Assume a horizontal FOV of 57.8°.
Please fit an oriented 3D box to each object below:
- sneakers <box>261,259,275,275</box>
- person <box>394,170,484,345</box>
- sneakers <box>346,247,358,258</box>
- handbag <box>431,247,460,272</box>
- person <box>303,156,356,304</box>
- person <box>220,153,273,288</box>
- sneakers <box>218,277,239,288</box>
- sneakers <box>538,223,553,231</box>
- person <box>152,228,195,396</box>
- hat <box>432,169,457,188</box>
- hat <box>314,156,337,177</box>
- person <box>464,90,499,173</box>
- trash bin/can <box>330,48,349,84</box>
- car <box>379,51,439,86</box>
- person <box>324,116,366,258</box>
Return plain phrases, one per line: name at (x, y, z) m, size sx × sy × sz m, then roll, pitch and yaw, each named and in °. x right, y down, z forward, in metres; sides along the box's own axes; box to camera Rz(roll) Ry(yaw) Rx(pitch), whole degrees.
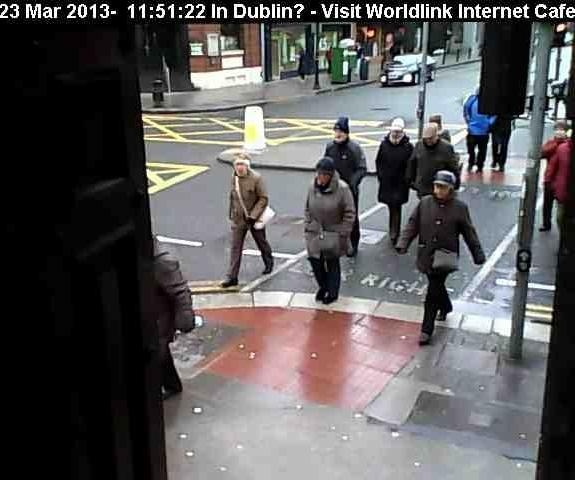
sneakers at (-0.303, 0.441, 8.560) m, size 0.130 × 0.281 × 0.256 m, roll -1°, pitch -5°, yaw 33°
person at (1.846, 0.177, 6.422) m, size 0.967 × 1.997 × 0.690 m, roll -4°, pitch 18°, yaw -3°
sneakers at (0.926, 0.188, 7.609) m, size 0.132 × 0.192 × 0.457 m, roll 0°, pitch 5°, yaw 14°
handbag at (1.911, 0.243, 6.297) m, size 0.295 × 0.263 × 0.170 m, roll 1°, pitch 18°, yaw 14°
person at (0.595, -0.104, 7.227) m, size 0.693 × 2.045 × 0.496 m, roll -1°, pitch 18°, yaw 7°
person at (-0.664, -0.341, 8.123) m, size 0.951 × 2.001 × 0.625 m, roll -10°, pitch 19°, yaw -21°
sneakers at (-0.909, 0.638, 7.995) m, size 0.299 × 0.144 × 0.112 m, roll 0°, pitch 15°, yaw -14°
sneakers at (4.850, -0.227, 9.756) m, size 0.226 × 0.194 × 0.094 m, roll 16°, pitch 63°, yaw 27°
person at (-1.107, 0.779, 5.037) m, size 0.408 × 1.743 × 0.592 m, roll -9°, pitch 19°, yaw -17°
hat at (1.915, -0.732, 6.304) m, size 0.199 × 0.209 × 0.358 m, roll 5°, pitch 20°, yaw 24°
hat at (0.526, -1.012, 7.100) m, size 0.195 × 0.186 × 0.305 m, roll 8°, pitch 0°, yaw 11°
person at (4.966, -2.811, 13.517) m, size 0.721 × 2.071 × 1.575 m, roll 4°, pitch 19°, yaw 21°
trash bin/can at (3.355, -11.094, 33.106) m, size 1.325 × 2.164 × 0.709 m, roll -18°, pitch 23°, yaw -38°
car at (7.194, -10.515, 32.321) m, size 2.895 × 1.747 × 1.921 m, roll -19°, pitch 24°, yaw -39°
person at (0.949, -0.922, 9.124) m, size 0.762 × 2.464 × 0.749 m, roll 12°, pitch 33°, yaw 25°
